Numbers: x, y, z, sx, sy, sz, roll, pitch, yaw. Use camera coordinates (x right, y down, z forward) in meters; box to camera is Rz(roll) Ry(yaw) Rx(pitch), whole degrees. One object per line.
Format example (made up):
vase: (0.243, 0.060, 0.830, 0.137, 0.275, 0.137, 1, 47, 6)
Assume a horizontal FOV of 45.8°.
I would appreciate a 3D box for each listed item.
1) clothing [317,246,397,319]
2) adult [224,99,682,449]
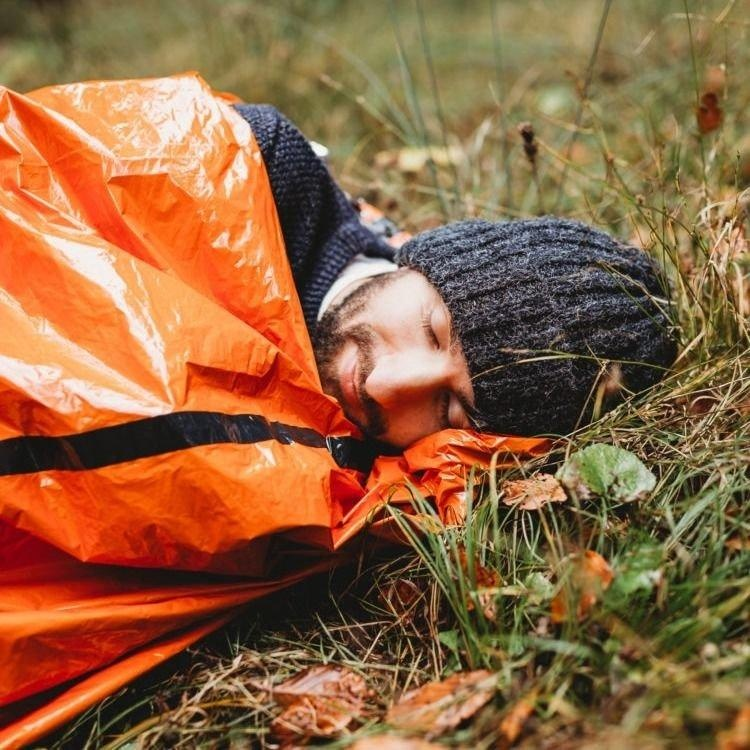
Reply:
clothing: (-0.048, -0.194, 1.810, 0.174, 0.066, 0.124, -38, 7, 4)
adult: (0.061, -0.178, 1.735, 0.960, 0.319, 0.558, -2, 44, -18)
